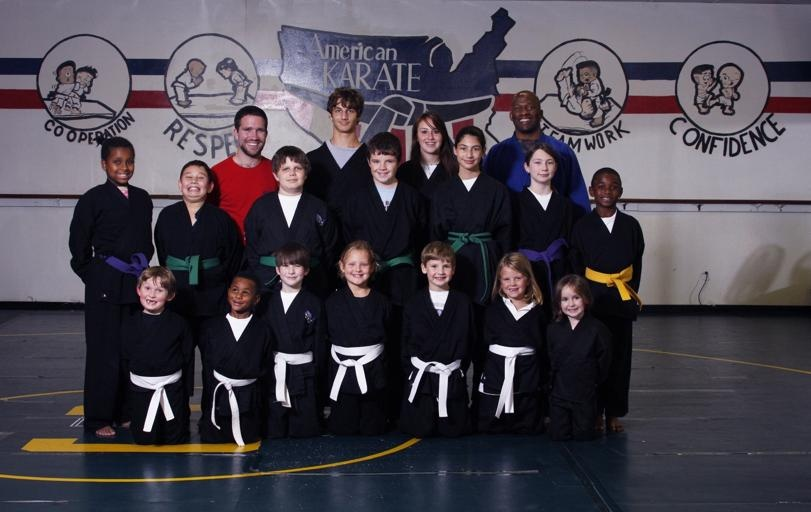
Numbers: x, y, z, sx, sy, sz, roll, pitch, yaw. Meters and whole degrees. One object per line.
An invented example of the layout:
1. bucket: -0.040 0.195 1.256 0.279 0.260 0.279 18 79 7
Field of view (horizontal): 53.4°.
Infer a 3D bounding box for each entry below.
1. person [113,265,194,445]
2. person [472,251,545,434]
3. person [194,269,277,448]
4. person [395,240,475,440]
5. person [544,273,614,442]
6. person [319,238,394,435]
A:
1. person: -2.065 0.813 6.640 0.591 1.446 0.299 0 7 -5
2. person: 0.891 0.733 6.859 0.616 1.513 0.324 1 7 9
3. person: -1.416 0.853 6.661 0.594 1.378 0.275 -1 7 -14
4. person: 0.260 0.696 6.780 0.625 1.615 0.274 1 7 4
5. person: 1.441 0.845 6.741 0.527 1.351 0.268 2 7 13
6. person: -0.409 0.687 6.776 0.541 1.606 0.272 0 7 -3
